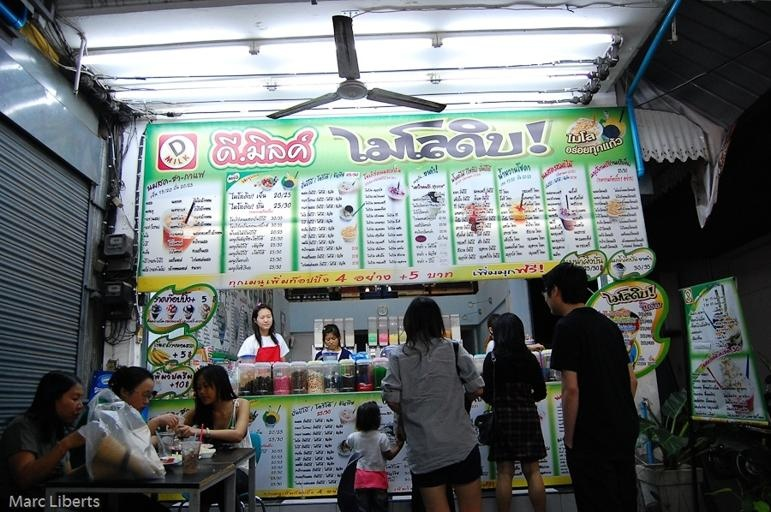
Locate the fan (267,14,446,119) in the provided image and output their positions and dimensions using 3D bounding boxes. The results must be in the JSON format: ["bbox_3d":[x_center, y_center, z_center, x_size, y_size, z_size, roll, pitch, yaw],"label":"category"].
[{"bbox_3d":[-0.498,-1.782,5.165,0.932,1.085,0.890,-9,-42,-4],"label":"fan"}]

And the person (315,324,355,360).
[{"bbox_3d":[-0.600,1.026,6.614,0.428,0.466,0.764,-1,-19,-7],"label":"person"}]

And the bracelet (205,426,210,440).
[{"bbox_3d":[-1.433,1.432,4.600,0.060,0.090,0.081,5,-45,-18],"label":"bracelet"}]

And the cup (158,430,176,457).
[{"bbox_3d":[-1.668,1.445,4.418,0.162,0.161,0.157,-3,-23,-1],"label":"cup"}]

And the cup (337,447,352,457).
[{"bbox_3d":[-0.418,1.948,5.706,0.127,0.120,0.199,-1,-22,-18],"label":"cup"}]

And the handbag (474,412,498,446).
[{"bbox_3d":[0.913,1.579,5.182,0.138,0.346,0.412,9,-19,-4],"label":"handbag"}]
